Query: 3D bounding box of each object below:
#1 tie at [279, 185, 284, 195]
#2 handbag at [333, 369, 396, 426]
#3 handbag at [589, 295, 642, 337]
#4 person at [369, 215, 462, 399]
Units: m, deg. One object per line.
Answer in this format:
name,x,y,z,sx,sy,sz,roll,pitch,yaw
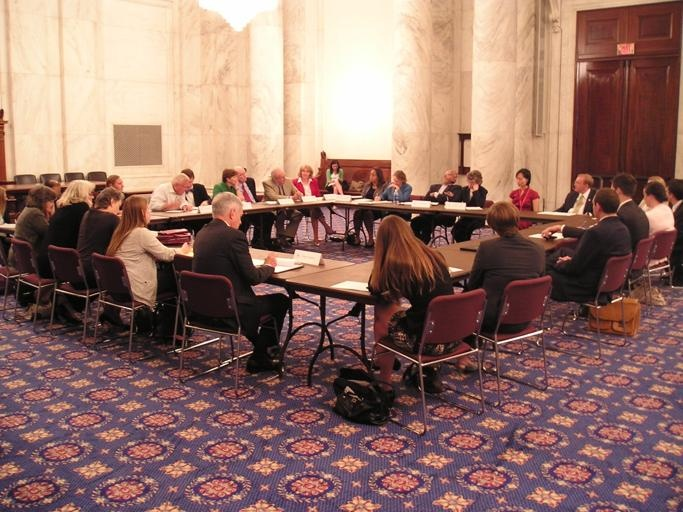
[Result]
tie,-1.118,-1.223,10.375,0.037,0.135,0.137,-2,7,18
handbag,0.158,0.951,3.918,0.355,0.466,0.478,5,-6,-32
handbag,2.636,0.578,5.383,0.437,0.359,0.182,0,0,39
person,0.477,0.397,3.819,0.586,1.361,0.628,0,12,3
